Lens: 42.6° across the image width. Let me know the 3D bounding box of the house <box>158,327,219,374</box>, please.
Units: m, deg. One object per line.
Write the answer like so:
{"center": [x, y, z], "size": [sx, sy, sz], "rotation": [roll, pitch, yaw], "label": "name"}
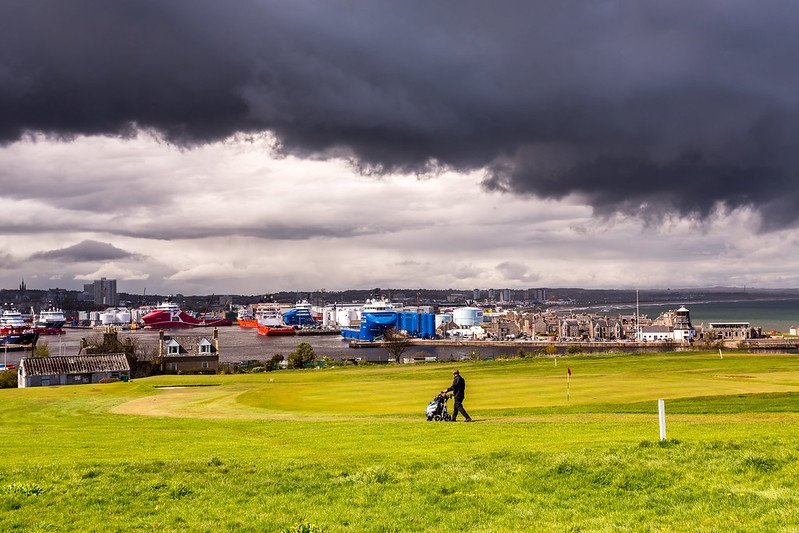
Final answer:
{"center": [-27.335, 12.319, 132.074], "size": [6.791, 4.688, 5.581], "rotation": [1, -2, -28], "label": "house"}
